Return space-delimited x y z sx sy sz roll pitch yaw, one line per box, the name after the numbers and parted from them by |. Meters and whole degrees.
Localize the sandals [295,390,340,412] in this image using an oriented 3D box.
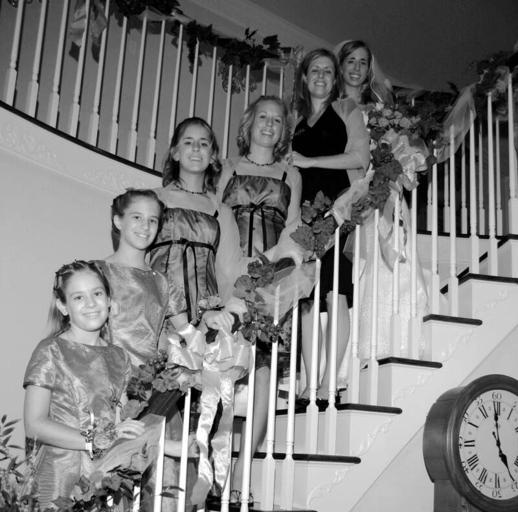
0.224 0.613 3.724 0.230 0.115 0.080 2 -7 4 | sandals

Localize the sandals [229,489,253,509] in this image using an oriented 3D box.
-0.069 0.913 3.309 0.091 0.058 0.165 2 -8 0 | sandals

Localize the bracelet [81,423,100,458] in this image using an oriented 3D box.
-0.559 0.622 2.983 0.024 0.104 0.067 -1 13 5 | bracelet
